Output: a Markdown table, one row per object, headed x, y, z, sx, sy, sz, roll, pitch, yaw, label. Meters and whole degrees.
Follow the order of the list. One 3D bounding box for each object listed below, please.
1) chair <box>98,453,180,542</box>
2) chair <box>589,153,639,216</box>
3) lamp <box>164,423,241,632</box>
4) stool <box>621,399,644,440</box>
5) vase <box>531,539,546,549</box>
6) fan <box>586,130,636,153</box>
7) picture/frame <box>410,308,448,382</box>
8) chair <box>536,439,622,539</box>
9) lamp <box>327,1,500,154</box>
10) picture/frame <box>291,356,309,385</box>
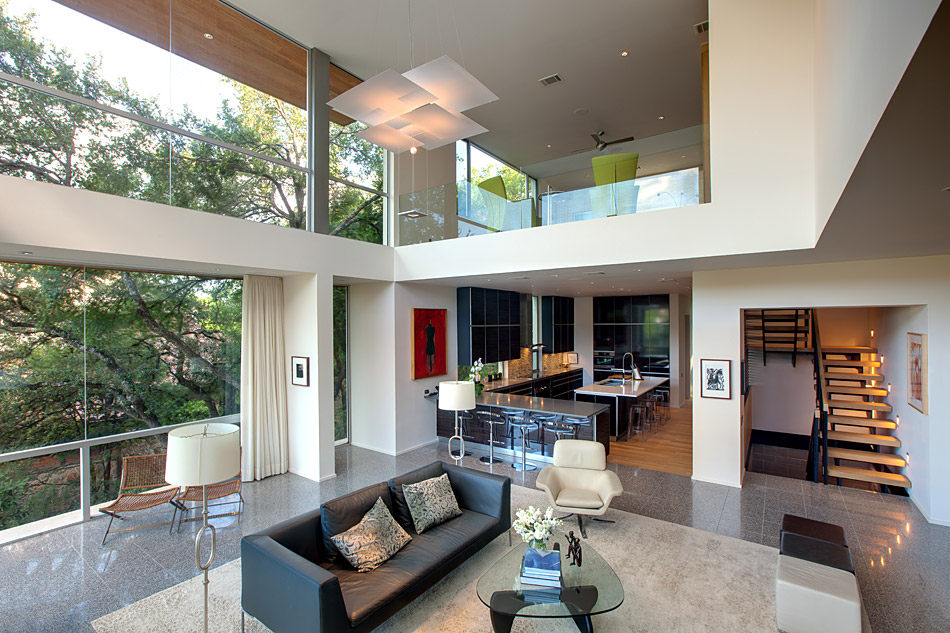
| x | y | z | sx | sy | sz | roll | pitch | yaw | label |
| --- | --- | --- | --- | --- | --- | --- | --- | --- | --- |
| -5.160 | 2.767 | 9.197 | 0.903 | 0.923 | 1.272 | 3 | 3 | -26 | chair |
| 2.381 | -2.226 | 9.998 | 0.729 | 0.949 | 0.569 | -2 | -1 | 14 | chair |
| -3.566 | 2.642 | 7.751 | 0.794 | 2.545 | 1.714 | -2 | -1 | -27 | lamp |
| 3.571 | 2.284 | 13.418 | 0.443 | 0.765 | 1.406 | -3 | -2 | 22 | stool |
| 0.807 | 2.900 | 7.466 | 0.154 | 0.118 | 0.157 | 0 | 0 | -20 | vase |
| 3.194 | -4.140 | 13.887 | 0.651 | 0.289 | 0.745 | -8 | -3 | 12 | fan |
| -0.952 | 0.563 | 12.434 | 0.239 | 1.026 | 1.095 | -3 | -2 | 28 | picture/frame |
| 1.665 | 2.735 | 9.320 | 1.320 | 1.215 | 1.286 | -1 | -3 | 10 | chair |
| -0.822 | -2.929 | 8.225 | 1.957 | 0.748 | 1.315 | -2 | -2 | 10 | lamp |
| -3.159 | 0.993 | 10.695 | 0.076 | 0.597 | 0.499 | 4 | -6 | -44 | picture/frame |
